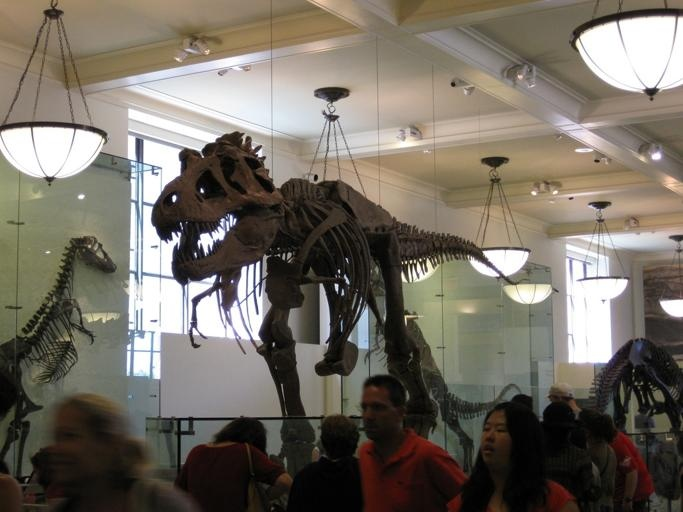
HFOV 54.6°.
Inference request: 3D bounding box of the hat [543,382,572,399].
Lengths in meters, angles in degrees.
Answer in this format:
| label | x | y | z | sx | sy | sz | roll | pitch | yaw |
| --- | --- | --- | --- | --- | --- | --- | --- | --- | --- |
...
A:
| label | x | y | z | sx | sy | sz | roll | pitch | yaw |
| --- | --- | --- | --- | --- | --- | --- | --- | --- | --- |
| hat | 2.134 | 1.324 | 6.586 | 0.156 | 0.135 | 0.218 | 2 | -7 | -26 |
